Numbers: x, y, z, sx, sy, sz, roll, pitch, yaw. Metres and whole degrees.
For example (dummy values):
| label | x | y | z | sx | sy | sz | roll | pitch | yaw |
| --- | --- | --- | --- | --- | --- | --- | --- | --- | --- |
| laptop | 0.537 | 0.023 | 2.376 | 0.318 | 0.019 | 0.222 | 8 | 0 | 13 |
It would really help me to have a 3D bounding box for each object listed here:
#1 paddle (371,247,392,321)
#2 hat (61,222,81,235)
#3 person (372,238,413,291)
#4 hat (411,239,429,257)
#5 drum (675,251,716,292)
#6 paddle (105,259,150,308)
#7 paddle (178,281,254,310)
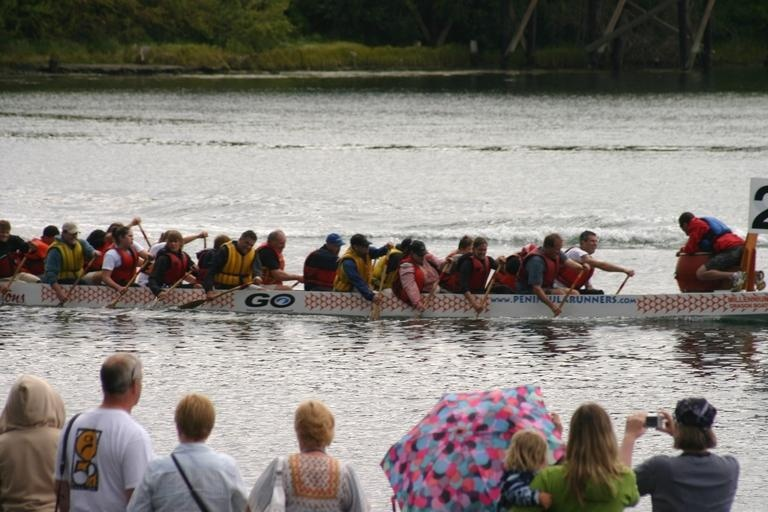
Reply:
| label | x | y | z | sx | sy | sz | roll | pitch | yaw |
| --- | --- | --- | --- | --- | --- | --- | --- | --- | --- |
| paddle | -0.152 | 1.422 | 71.539 | 0.503 | 3.747 | 0.294 | 19 | -28 | -10 |
| hat | -12.844 | -1.029 | 72.079 | 0.560 | 0.300 | 0.422 | -9 | -2 | 37 |
| person | 0.269 | 0.502 | 71.685 | 0.715 | 2.133 | 1.569 | 27 | 21 | -25 |
| hat | 1.495 | -0.243 | 71.427 | 0.668 | 0.646 | 0.521 | -1 | 32 | 18 |
| drum | 12.847 | 0.822 | 72.166 | 1.386 | 1.385 | 1.842 | 0 | 4 | 19 |
| paddle | -10.535 | 1.295 | 72.095 | 0.434 | 2.526 | 0.307 | 44 | -14 | 12 |
| paddle | -6.742 | 1.770 | 71.900 | 2.886 | 0.342 | 0.195 | -19 | 18 | -6 |
